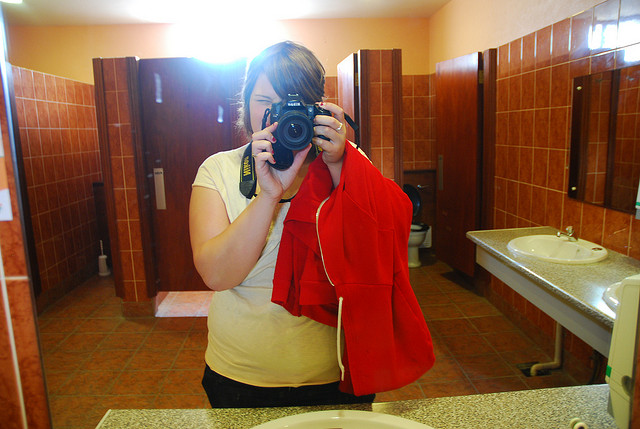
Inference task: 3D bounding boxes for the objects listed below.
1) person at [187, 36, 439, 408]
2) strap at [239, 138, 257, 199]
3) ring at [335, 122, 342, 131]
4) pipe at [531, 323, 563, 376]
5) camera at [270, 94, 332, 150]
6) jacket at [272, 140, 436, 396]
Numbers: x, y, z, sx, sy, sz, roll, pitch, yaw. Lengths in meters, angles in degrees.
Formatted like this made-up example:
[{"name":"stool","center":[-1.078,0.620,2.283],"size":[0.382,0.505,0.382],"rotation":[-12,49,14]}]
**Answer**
[{"name":"person","center":[-0.030,0.047,1.500],"size":[0.796,1.204,0.415],"rotation":[0,15,13]},{"name":"strap","center":[-0.245,-0.137,1.527],"size":[0.038,0.157,0.118],"rotation":[3,2,3]},{"name":"ring","center":[0.061,-0.283,1.474],"size":[0.008,0.023,0.026],"rotation":[11,20,44]},{"name":"pipe","center":[1.513,0.878,3.020],"size":[0.187,0.437,0.051],"rotation":[-2,16,13]},{"name":"camera","center":[-0.095,-0.274,1.497],"size":[0.219,0.133,0.174],"rotation":[0,1,9]},{"name":"jacket","center":[0.109,0.162,1.459],"size":[0.504,0.752,0.300],"rotation":[0,15,13]}]
